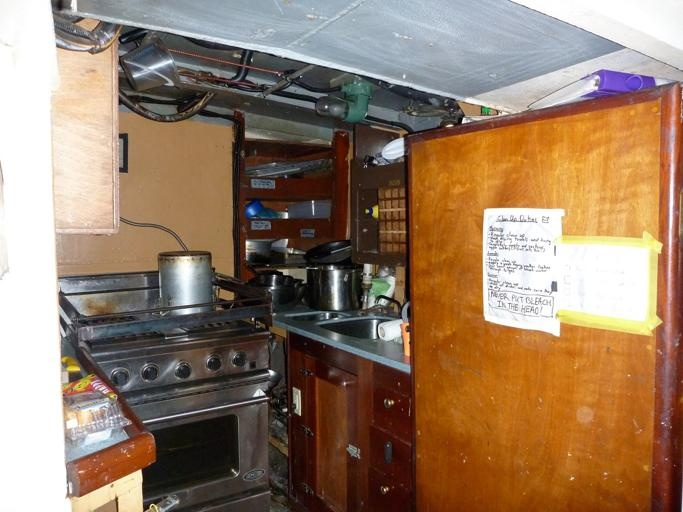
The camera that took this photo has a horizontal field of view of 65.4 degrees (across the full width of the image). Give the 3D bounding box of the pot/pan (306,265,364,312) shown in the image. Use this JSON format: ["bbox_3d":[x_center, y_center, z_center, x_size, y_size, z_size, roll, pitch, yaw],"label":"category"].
[{"bbox_3d":[-0.011,0.161,2.850,0.333,0.178,0.266,2,4,22],"label":"pot/pan"}]

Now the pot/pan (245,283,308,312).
[{"bbox_3d":[-0.300,0.198,2.694,0.214,0.069,0.182,-2,1,7],"label":"pot/pan"}]

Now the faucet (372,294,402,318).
[{"bbox_3d":[0.228,0.236,2.572,0.128,0.092,0.248,0,3,3],"label":"faucet"}]

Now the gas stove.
[{"bbox_3d":[-0.732,0.406,2.142,0.737,0.292,0.484,-1,-11,-41],"label":"gas stove"}]

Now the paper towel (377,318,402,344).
[{"bbox_3d":[0.199,0.300,2.156,0.123,0.088,0.074,-3,-3,1],"label":"paper towel"}]

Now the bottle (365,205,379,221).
[{"bbox_3d":[0.146,-0.201,2.442,0.078,0.042,0.070,-1,1,8],"label":"bottle"}]
